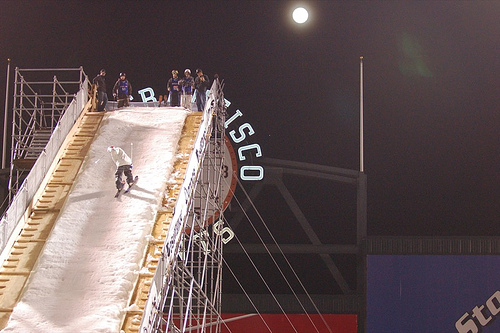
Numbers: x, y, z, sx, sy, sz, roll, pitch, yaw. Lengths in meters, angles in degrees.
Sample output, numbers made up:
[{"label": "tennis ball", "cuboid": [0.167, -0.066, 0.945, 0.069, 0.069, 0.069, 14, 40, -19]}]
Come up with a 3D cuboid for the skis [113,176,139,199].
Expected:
[{"label": "skis", "cuboid": [-4.250, 0.745, 31.326, 0.101, 0.949, 0.157, 44, -16, 7]}]
